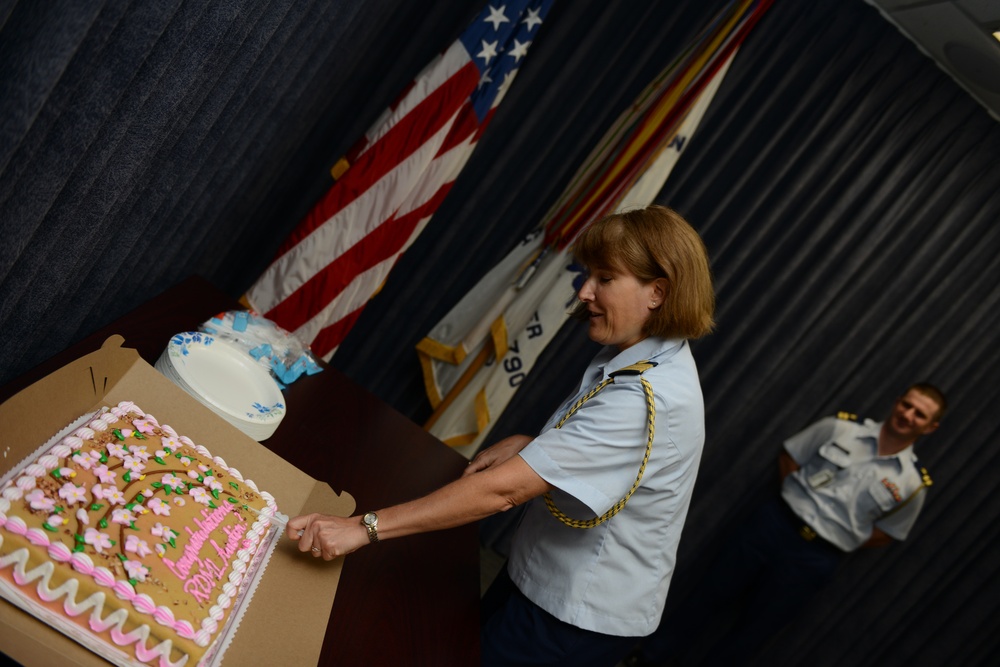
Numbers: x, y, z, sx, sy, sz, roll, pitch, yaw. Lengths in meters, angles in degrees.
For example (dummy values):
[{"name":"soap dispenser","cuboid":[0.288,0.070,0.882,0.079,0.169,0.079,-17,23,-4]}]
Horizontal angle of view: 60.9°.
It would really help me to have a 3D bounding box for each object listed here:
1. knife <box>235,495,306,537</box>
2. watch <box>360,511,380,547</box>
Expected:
[{"name":"knife","cuboid":[-0.731,0.568,2.676,0.089,0.045,0.118,30,-2,45]},{"name":"watch","cuboid":[-0.399,0.603,2.644,0.052,0.084,0.086,4,35,-9]}]
